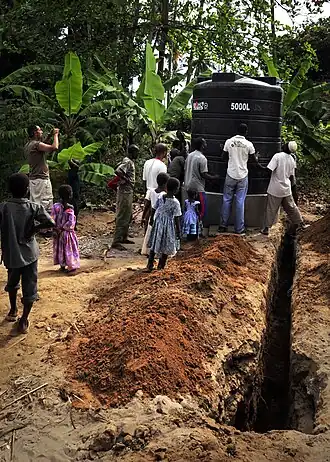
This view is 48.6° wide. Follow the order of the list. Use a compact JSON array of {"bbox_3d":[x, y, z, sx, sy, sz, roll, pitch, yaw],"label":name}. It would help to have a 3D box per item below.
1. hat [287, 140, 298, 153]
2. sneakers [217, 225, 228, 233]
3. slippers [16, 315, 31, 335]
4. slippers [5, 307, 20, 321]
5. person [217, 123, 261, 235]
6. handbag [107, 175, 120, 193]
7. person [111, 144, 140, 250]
[{"bbox_3d":[2.419,-1.627,6.949,0.182,0.102,0.238,6,51,-9],"label":"hat"},{"bbox_3d":[1.174,-0.049,7.492,0.136,0.160,0.390,1,-6,13],"label":"sneakers"},{"bbox_3d":[-1.498,0.989,3.847,0.097,0.090,0.215,2,18,-14],"label":"slippers"},{"bbox_3d":[-1.660,0.923,3.970,0.067,0.072,0.179,3,-2,-8],"label":"slippers"},{"bbox_3d":[1.391,-0.980,7.120,0.680,2.113,0.333,2,15,12],"label":"person"},{"bbox_3d":[-0.982,-0.920,6.905,0.212,0.279,0.710,-3,13,-9],"label":"handbag"},{"bbox_3d":[-0.791,-0.606,6.958,0.562,2.026,0.869,-3,14,-9],"label":"person"}]
